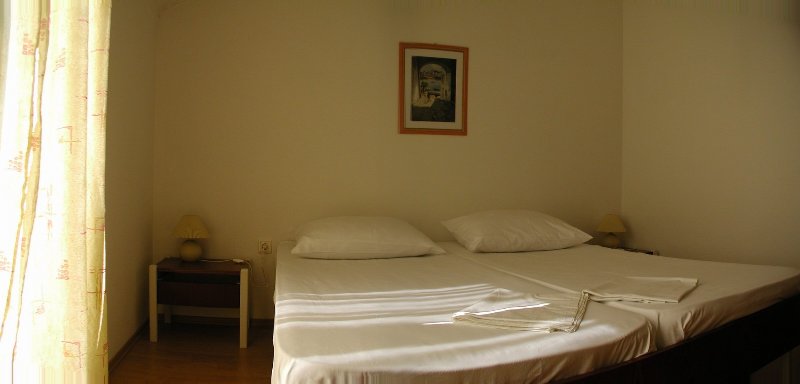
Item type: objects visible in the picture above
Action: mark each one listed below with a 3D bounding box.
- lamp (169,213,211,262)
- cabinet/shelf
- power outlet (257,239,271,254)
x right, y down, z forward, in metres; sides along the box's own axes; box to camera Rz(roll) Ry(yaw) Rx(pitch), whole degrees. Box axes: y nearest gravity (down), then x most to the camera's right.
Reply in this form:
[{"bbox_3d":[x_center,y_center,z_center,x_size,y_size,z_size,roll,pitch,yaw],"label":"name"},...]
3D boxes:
[{"bbox_3d":[-2.088,0.441,5.063,0.486,0.495,0.475,-2,1,9],"label":"lamp"},{"bbox_3d":[-1.999,0.969,5.359,1.288,0.863,0.842,1,2,0],"label":"cabinet/shelf"},{"bbox_3d":[-1.414,0.560,5.274,0.173,0.152,0.024,1,0,-10],"label":"power outlet"}]
